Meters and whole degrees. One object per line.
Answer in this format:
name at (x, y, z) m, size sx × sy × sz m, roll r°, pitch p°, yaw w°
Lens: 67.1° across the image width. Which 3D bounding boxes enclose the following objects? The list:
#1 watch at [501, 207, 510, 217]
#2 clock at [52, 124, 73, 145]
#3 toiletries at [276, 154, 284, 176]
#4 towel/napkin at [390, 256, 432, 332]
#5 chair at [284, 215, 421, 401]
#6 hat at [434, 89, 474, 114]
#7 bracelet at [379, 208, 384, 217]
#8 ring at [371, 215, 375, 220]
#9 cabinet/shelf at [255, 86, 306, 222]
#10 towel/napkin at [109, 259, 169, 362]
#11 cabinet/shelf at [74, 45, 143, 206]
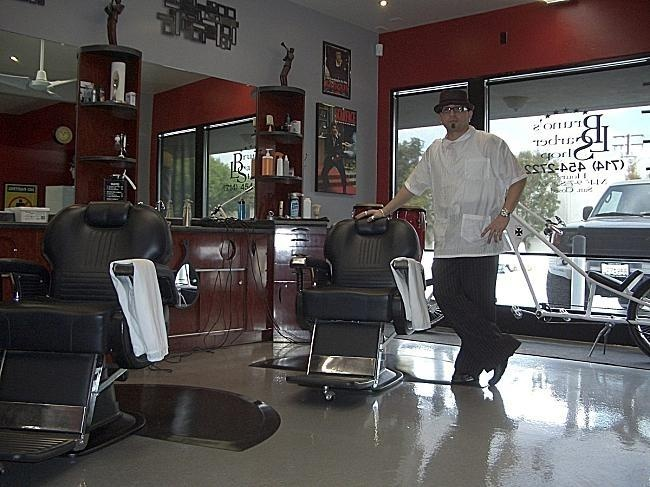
watch at (1.264, -0.213, 3.402) m, size 0.041 × 0.060 × 0.016 m, roll 14°, pitch -27°, yaw 16°
clock at (-2.232, -0.921, 4.134) m, size 0.049 × 0.144 × 0.143 m, roll -5°, pitch 26°, yaw 31°
toiletries at (-0.493, -0.875, 5.413) m, size 0.086 × 0.244 × 0.165 m, roll 1°, pitch 1°, yaw -6°
towel/napkin at (0.604, 0.348, 3.320) m, size 0.217 × 0.505 × 0.362 m, roll 2°, pitch 2°, yaw 42°
chair at (0.247, 0.419, 3.425) m, size 0.801 × 1.210 × 0.898 m, roll 1°, pitch 1°, yaw 12°
hat at (0.959, -1.064, 3.604) m, size 0.246 × 0.191 × 0.187 m, roll 0°, pitch 2°, yaw -28°
bracelet at (0.423, -0.233, 3.674) m, size 0.020 × 0.054 × 0.043 m, roll -21°, pitch -20°, yaw 34°
ring at (0.358, -0.195, 3.615) m, size 0.022 × 0.032 × 0.011 m, roll -3°, pitch 0°, yaw 21°
cabinet/shelf at (-0.497, -0.984, 5.394) m, size 0.534 × 1.423 × 0.285 m, roll 1°, pitch 1°, yaw -6°
towel/napkin at (-0.922, 0.323, 2.536) m, size 0.298 × 0.509 × 0.138 m, roll -4°, pitch 12°, yaw 11°
cabinet/shelf at (-1.905, -1.022, 4.292) m, size 0.531 × 1.342 × 0.370 m, roll 0°, pitch 1°, yaw -25°
